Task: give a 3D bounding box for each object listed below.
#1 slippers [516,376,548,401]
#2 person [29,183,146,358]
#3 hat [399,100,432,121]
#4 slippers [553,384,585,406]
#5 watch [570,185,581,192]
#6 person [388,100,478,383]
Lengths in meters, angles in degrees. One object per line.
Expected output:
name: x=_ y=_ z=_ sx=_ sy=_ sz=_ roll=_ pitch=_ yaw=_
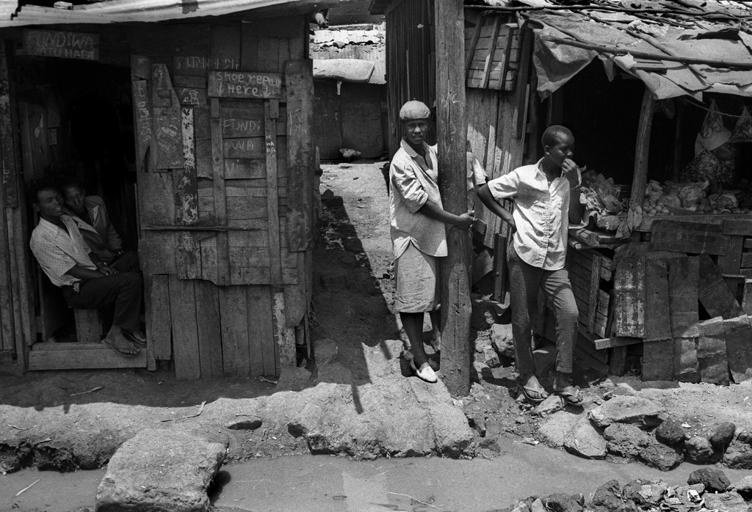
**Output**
slippers: x=1.684 y=1.428 z=7.122 sx=0.204 sy=0.163 sz=0.350 roll=-2 pitch=5 yaw=-7
person: x=-3.164 y=0.149 z=7.322 sx=1.133 sy=1.947 sz=0.373 roll=-1 pitch=7 yaw=9
hat: x=0.401 y=-1.485 z=6.786 sx=0.269 sy=0.212 sz=0.304 roll=-2 pitch=7 yaw=-2
slippers: x=2.038 y=1.459 z=6.973 sx=0.182 sy=0.089 sz=0.294 roll=-8 pitch=16 yaw=-23
watch: x=2.050 y=-0.686 z=6.760 sx=0.081 sy=0.088 sz=0.065 roll=6 pitch=23 yaw=-6
person: x=0.523 y=-0.114 z=7.031 sx=0.697 sy=2.967 sz=0.527 roll=-2 pitch=7 yaw=1
